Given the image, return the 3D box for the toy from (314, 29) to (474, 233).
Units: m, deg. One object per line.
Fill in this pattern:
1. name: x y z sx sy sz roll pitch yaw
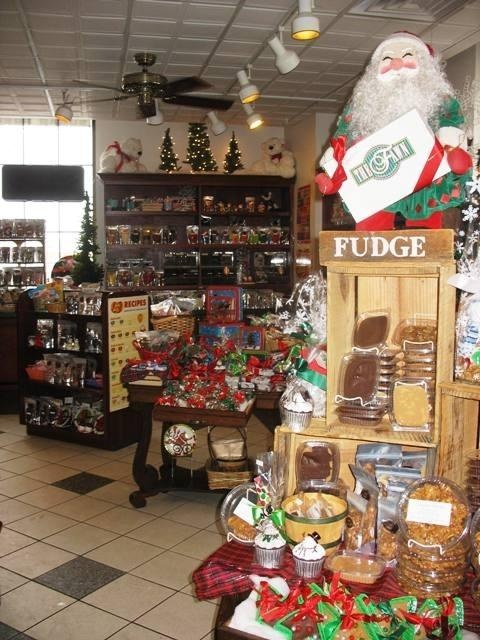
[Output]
1. toy: 0.459 -0.492 1.542 0.498 0.604 0.220 15 -14 7

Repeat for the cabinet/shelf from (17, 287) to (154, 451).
1. cabinet/shelf: -1.332 0.451 4.368 1.513 1.575 0.642 2 1 29

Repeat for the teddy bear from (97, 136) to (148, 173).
1. teddy bear: -1.680 -2.348 7.133 0.695 0.457 0.470 -11 24 -25

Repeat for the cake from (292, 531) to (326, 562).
1. cake: 0.164 0.526 1.205 0.064 0.054 0.063 0 -5 31

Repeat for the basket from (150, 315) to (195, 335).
1. basket: -0.621 0.054 4.798 0.183 0.202 0.666 4 4 36

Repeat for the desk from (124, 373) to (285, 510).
1. desk: -0.270 0.809 3.285 1.265 0.968 0.819 1 -2 1

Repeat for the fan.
1. fan: -1.006 -2.528 5.375 1.251 0.355 1.242 0 2 -9

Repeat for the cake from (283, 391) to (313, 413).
1. cake: 0.167 0.232 1.440 0.061 0.035 0.058 1 -4 -7

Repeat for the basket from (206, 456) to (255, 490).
1. basket: -0.066 0.985 3.242 0.311 0.164 0.251 1 3 -2

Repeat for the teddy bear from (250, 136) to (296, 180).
1. teddy bear: 0.516 -2.444 7.637 0.667 0.585 0.368 2 31 22

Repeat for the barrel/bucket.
1. barrel/bucket: 0.192 0.515 1.274 0.145 0.098 0.157 0 -3 0
